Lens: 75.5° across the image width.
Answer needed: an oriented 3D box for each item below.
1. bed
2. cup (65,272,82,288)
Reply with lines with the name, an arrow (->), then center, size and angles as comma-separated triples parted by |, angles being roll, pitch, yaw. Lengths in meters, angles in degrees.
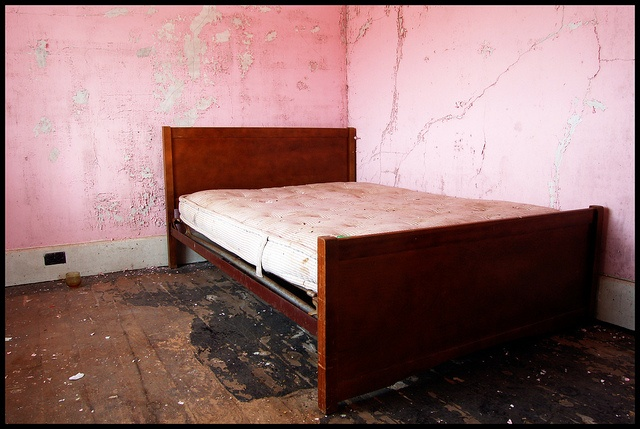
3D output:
bed -> 0.198, -0.115, 3.362 | 2.352, 1.365, 2.833 | -7, 16, -35
cup -> -2.038, 0.538, 3.415 | 0.125, 0.090, 0.123 | 0, 0, 0
